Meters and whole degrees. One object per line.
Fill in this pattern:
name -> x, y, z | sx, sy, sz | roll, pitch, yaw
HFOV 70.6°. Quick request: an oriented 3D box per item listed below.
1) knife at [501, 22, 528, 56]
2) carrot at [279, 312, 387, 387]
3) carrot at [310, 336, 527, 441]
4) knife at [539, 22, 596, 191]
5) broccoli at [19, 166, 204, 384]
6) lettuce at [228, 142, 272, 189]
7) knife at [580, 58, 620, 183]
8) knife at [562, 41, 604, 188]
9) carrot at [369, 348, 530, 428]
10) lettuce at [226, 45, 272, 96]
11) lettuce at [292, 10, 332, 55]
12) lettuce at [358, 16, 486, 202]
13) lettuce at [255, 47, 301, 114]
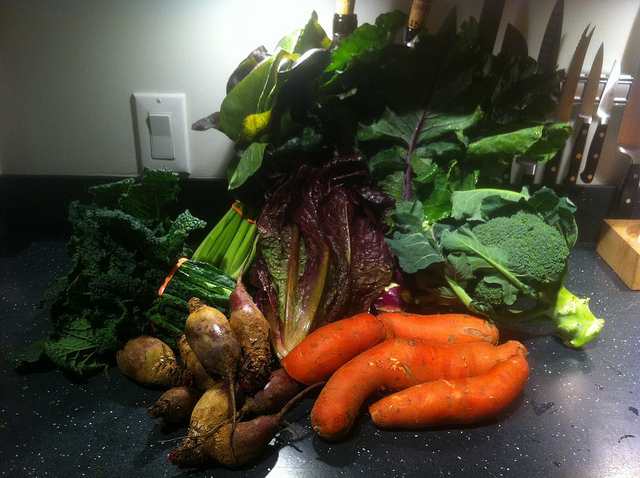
knife -> 0.617, -0.626, 1.422 | 0.078, 0.083, 0.033 | 15, 32, 20
carrot -> 0.034, 0.276, 1.197 | 0.258, 0.127, 0.130 | -25, 15, -9
carrot -> 0.258, 0.330, 1.179 | 0.588, 0.176, 0.193 | -17, 35, -3
knife -> 0.787, -0.444, 1.446 | 0.067, 0.570, 0.026 | 15, 11, 16
broccoli -> -0.538, 0.072, 1.322 | 0.380, 0.194, 0.629 | 11, 66, 1
lettuce -> -0.195, -0.180, 1.303 | 0.065, 0.178, 0.024 | 30, 3, 37
knife -> 0.920, -0.381, 1.524 | 0.061, 0.417, 0.031 | 12, 23, 10
knife -> 0.869, -0.397, 1.487 | 0.057, 0.454, 0.036 | 16, 22, 12
carrot -> 0.321, 0.381, 1.094 | 0.406, 0.113, 0.090 | -6, 32, -15
lettuce -> -0.219, -0.501, 1.404 | 0.154, 0.036, 0.097 | -37, 16, 16
lettuce -> -0.019, -0.577, 1.303 | 0.087, 0.136, 0.052 | -1, 30, -15
lettuce -> 0.300, -0.363, 1.307 | 0.229, 0.474, 0.076 | 14, 8, 5
lettuce -> -0.117, -0.434, 1.280 | 0.083, 0.158, 0.110 | 27, 38, 36
